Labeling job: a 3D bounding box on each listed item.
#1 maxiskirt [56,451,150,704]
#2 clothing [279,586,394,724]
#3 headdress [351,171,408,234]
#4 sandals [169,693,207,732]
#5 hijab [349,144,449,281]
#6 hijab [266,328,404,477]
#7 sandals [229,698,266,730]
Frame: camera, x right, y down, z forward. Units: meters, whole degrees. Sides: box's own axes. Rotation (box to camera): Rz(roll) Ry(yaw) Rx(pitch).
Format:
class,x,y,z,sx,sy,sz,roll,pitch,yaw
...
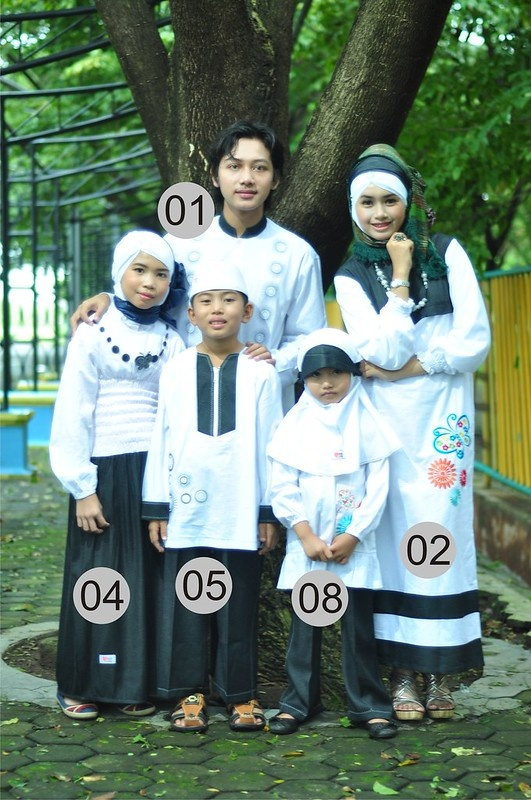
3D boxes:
class,x,y,z,sx,sy,sz,roll,pitch,yaw
maxiskirt,-0.631,0.710,3.719,0.402,0.987,0.231,1,3,-2
clothing,0.263,0.970,3.607,0.452,0.642,0.162,1,24,14
headdress,0.443,-0.816,3.732,0.196,0.191,0.224,-9,27,12
sandals,-0.295,1.195,3.566,0.140,0.107,0.148,1,2,-6
hijab,0.526,-0.754,3.818,0.470,0.516,0.315,-16,22,-19
hijab,0.288,0.030,3.595,0.653,0.548,0.354,-2,-12,-2
sandals,-0.069,1.208,3.574,0.138,0.089,0.130,1,2,-6
